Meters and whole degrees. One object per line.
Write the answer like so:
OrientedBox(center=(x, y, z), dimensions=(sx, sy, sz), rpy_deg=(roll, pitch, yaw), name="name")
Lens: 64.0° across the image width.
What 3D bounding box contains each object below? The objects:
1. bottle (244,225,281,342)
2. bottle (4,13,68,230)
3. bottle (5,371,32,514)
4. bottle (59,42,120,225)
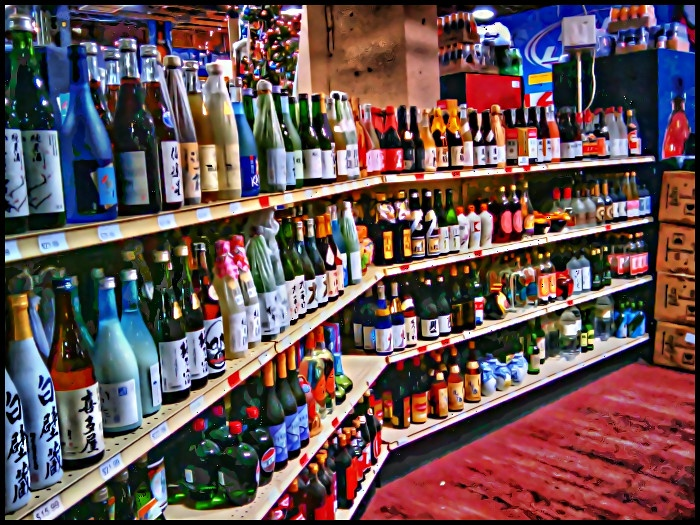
OrientedBox(center=(-0.364, 0.095, 2.379), dimensions=(0.126, 0.416, 0.200), rpy_deg=(-5, 13, -17), name="bottle")
OrientedBox(center=(-0.846, -0.378, 1.491), dimensions=(0.099, 0.552, 0.180), rpy_deg=(-8, 14, -30), name="bottle")
OrientedBox(center=(-0.841, 0.438, 1.393), dimensions=(0.055, 0.297, 0.159), rpy_deg=(-7, 14, -26), name="bottle")
OrientedBox(center=(-0.751, -0.370, 1.593), dimensions=(0.138, 0.493, 0.142), rpy_deg=(-1, 12, 0), name="bottle")
